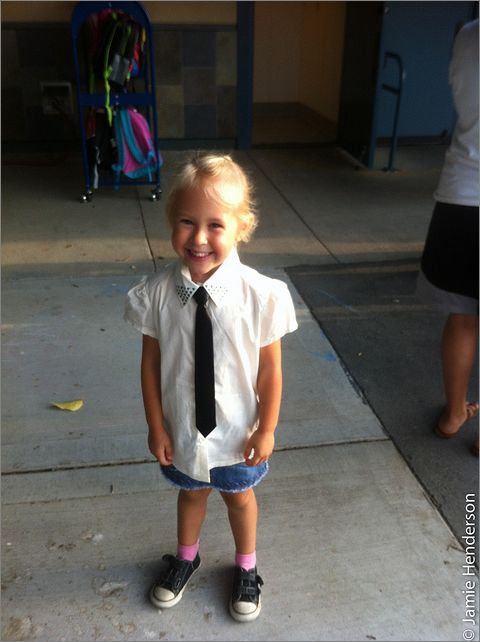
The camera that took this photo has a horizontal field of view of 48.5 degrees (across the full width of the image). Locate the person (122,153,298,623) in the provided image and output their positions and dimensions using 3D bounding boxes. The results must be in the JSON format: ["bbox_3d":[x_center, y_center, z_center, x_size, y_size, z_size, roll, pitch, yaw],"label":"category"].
[{"bbox_3d":[-0.094,0.217,1.402,0.444,1.229,0.409,4,28,5],"label":"person"}]

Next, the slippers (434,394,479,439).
[{"bbox_3d":[0.943,0.421,2.317,0.248,0.067,0.107,-38,45,-15],"label":"slippers"}]

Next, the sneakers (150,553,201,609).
[{"bbox_3d":[-0.196,0.772,1.596,0.068,0.064,0.170,17,11,13],"label":"sneakers"}]

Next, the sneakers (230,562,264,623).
[{"bbox_3d":[0.024,0.788,1.575,0.083,0.080,0.227,4,6,3],"label":"sneakers"}]
